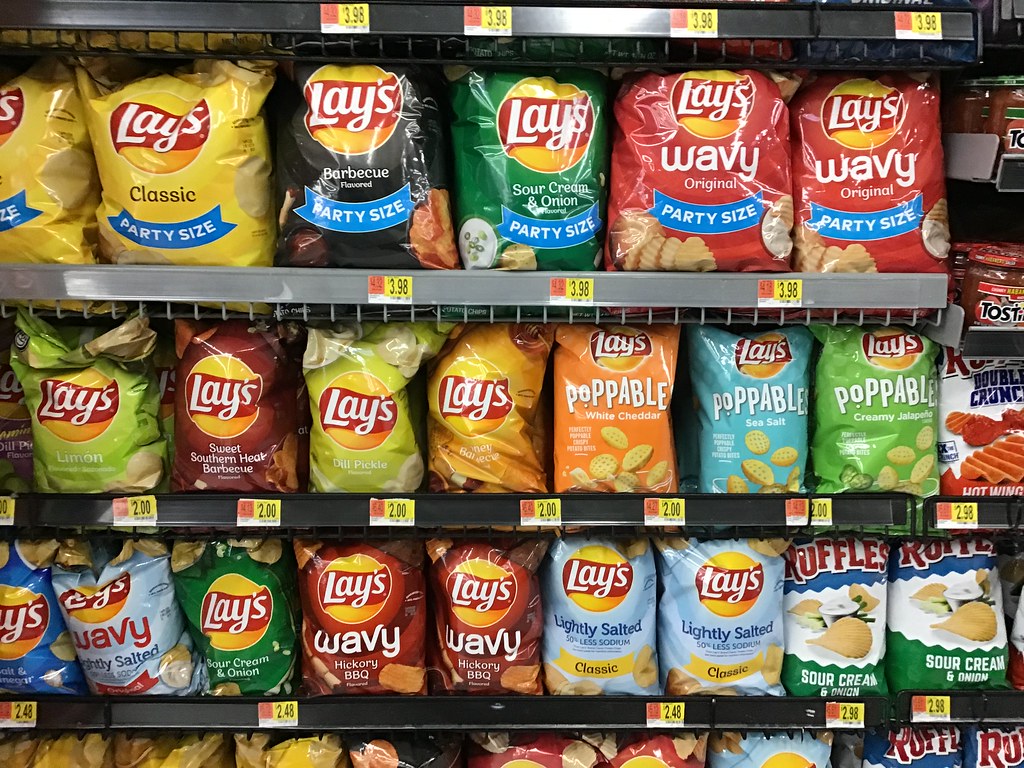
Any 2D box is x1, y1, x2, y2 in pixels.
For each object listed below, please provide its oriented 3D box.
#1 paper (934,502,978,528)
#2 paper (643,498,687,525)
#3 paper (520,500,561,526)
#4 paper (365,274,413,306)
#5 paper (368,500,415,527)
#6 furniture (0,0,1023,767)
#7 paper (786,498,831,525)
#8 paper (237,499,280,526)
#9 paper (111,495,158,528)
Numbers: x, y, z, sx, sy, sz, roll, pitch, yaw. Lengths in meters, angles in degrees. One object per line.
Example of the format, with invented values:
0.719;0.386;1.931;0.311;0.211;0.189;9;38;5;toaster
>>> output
1.052;0.308;2.361;0.102;0.062;0.062;1;2;3;paper
0.351;0.296;2.330;0.069;0.043;0.009;-1;-2;-5;paper
0.064;0.297;2.325;0.114;0.071;0.059;1;4;-1;paper
-0.275;-0.213;2.232;0.117;0.069;0.059;0;-6;0;paper
-0.278;0.294;2.314;0.118;0.063;0.060;1;-6;-3;paper
-0.044;-0.038;2.325;2.690;1.538;0.546;-1;7;-1;furniture
0.696;0.295;2.338;0.119;0.068;0.062;0;5;5;paper
-0.589;0.296;2.310;0.106;0.060;0.023;-1;1;-6;paper
-0.874;0.290;2.304;0.077;0.048;0.011;-3;2;-3;paper
